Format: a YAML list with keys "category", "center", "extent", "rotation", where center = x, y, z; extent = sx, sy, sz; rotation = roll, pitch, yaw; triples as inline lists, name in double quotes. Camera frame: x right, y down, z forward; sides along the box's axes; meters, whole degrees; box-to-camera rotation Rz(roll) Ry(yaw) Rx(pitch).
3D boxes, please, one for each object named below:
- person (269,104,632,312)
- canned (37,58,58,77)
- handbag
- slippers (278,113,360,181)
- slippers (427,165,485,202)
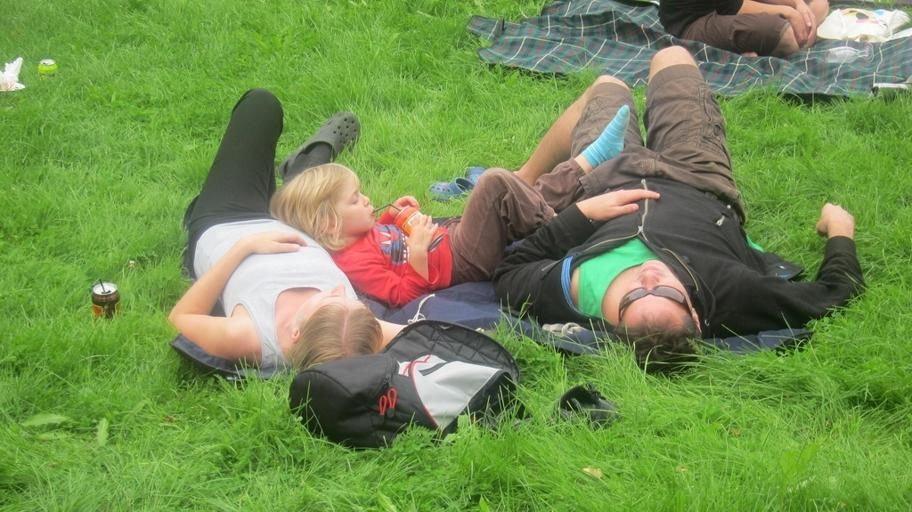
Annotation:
- category: "person"
  center: [0.030, -0.402, 7.066]
  extent: [3.157, 1.224, 1.084]
  rotation: [-17, 16, -6]
- category: "canned"
  center: [-4.088, -1.886, 8.273]
  extent: [0.197, 0.136, 0.160]
  rotation: [-14, 33, -33]
- category: "handbag"
  center: [-0.371, 0.931, 6.004]
  extent: [1.640, 0.670, 0.722]
  rotation: [1, 28, -8]
- category: "slippers"
  center: [-1.211, -1.045, 7.705]
  extent: [1.062, 0.357, 0.385]
  rotation: [-48, 13, -31]
- category: "slippers"
  center: [0.041, -0.661, 7.681]
  extent: [0.601, 0.154, 0.230]
  rotation: [-21, 57, -20]
